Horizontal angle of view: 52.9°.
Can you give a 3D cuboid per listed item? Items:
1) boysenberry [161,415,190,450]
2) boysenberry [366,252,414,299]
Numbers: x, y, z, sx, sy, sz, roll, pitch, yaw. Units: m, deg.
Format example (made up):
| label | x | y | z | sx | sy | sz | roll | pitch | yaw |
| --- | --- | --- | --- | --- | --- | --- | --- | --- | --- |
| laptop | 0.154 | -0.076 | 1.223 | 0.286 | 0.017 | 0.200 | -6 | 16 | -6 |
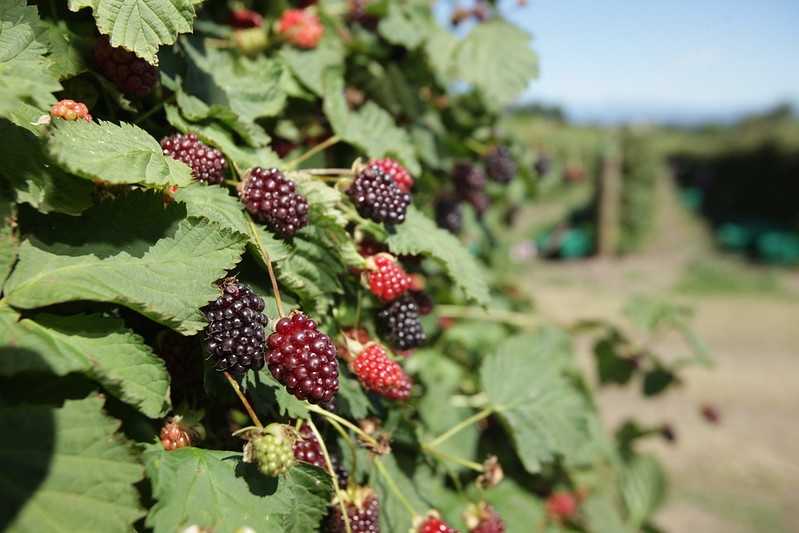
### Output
| label | x | y | z | sx | sy | sz | roll | pitch | yaw |
| --- | --- | --- | --- | --- | --- | --- | --- | --- | --- |
| boysenberry | -0.657 | 0.489 | 2.322 | 0.064 | 0.089 | 0.091 | -18 | 60 | 13 |
| boysenberry | -0.042 | 0.036 | 2.631 | 0.118 | 0.132 | 0.119 | 24 | 51 | 38 |
